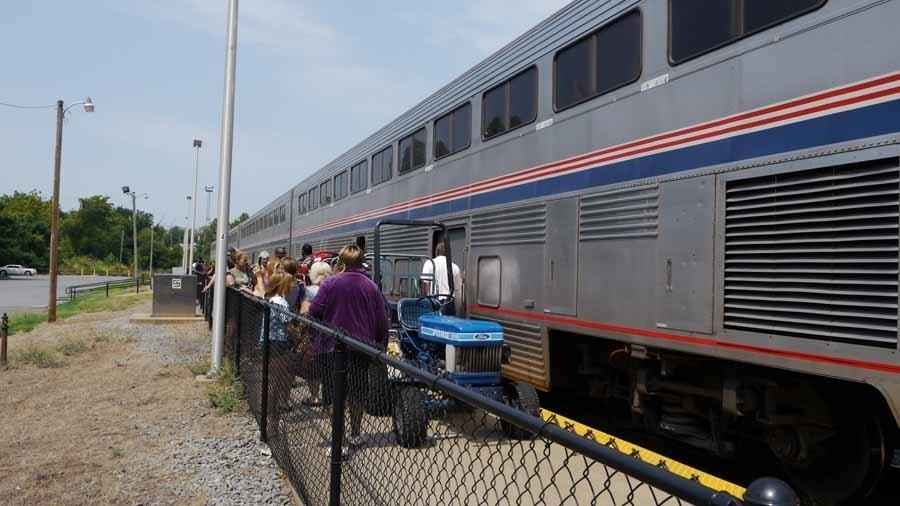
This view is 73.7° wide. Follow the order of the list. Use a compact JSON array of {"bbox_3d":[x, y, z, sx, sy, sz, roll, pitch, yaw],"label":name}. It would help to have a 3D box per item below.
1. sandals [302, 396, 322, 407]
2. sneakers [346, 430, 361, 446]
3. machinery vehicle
[{"bbox_3d":[-1.693,1.830,7.421,0.216,0.052,0.218,6,-6,-36],"label":"sandals"},{"bbox_3d":[-1.046,2.025,6.571,0.174,0.158,0.101,1,-16,9],"label":"sneakers"},{"bbox_3d":[-0.500,1.234,10.910,1.907,3.408,5.447,3,-5,-21],"label":"machinery vehicle"}]
